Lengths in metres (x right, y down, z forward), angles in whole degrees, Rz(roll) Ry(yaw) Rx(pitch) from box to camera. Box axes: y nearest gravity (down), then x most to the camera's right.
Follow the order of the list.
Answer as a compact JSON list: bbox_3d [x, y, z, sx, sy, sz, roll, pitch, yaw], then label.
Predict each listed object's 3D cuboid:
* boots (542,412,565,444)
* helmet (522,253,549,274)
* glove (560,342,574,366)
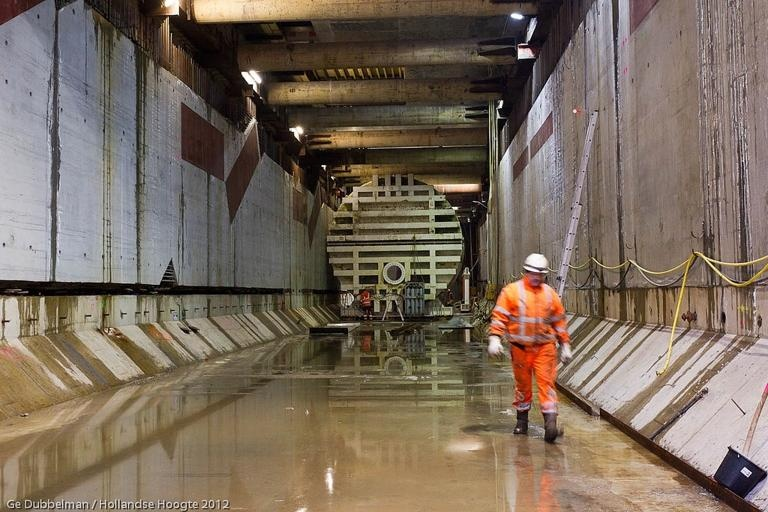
[{"bbox_3d":[2.170,2.155,9.173,0.135,0.547,0.306,1,-90,8],"label":"boots"},{"bbox_3d":[2.029,0.095,9.524,0.284,0.378,0.205,14,-75,16],"label":"helmet"},{"bbox_3d":[2.391,1.273,9.370,0.178,0.098,0.297,3,-88,44],"label":"glove"}]
